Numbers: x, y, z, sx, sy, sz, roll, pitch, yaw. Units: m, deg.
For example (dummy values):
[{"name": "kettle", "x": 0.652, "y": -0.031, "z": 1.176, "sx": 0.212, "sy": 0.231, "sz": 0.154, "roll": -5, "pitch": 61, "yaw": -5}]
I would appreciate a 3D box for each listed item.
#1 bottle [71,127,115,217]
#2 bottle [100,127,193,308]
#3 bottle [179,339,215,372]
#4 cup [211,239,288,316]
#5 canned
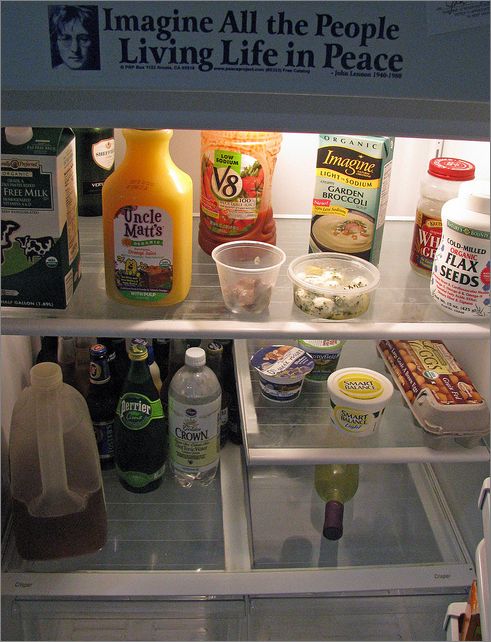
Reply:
[{"name": "bottle", "x": -0.279, "y": -0.280, "z": 0.944, "sx": 0.066, "sy": 0.235, "sz": 0.058, "roll": -16, "pitch": 63, "yaw": -25}, {"name": "bottle", "x": -0.152, "y": -0.148, "z": 0.787, "sx": 0.140, "sy": 0.269, "sz": 0.071, "roll": -5, "pitch": 32, "yaw": -11}, {"name": "bottle", "x": -0.100, "y": 0.068, "z": 1.042, "sx": 0.043, "sy": 0.039, "sz": 0.042, "roll": -25, "pitch": 46, "yaw": -32}, {"name": "cup", "x": 0.019, "y": -0.057, "z": 0.912, "sx": 0.134, "sy": 0.094, "sz": 0.131, "roll": 4, "pitch": 34, "yaw": -3}, {"name": "canned", "x": 0.365, "y": -0.188, "z": 0.958, "sx": 0.129, "sy": 0.199, "sz": 0.127, "roll": 4, "pitch": 27, "yaw": 14}]
